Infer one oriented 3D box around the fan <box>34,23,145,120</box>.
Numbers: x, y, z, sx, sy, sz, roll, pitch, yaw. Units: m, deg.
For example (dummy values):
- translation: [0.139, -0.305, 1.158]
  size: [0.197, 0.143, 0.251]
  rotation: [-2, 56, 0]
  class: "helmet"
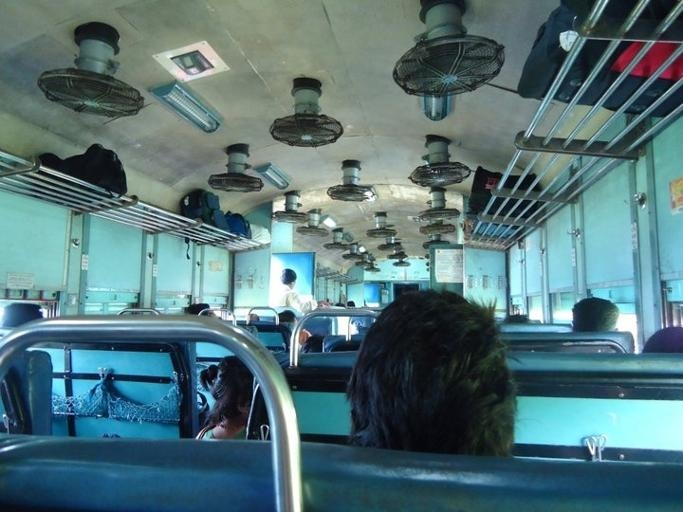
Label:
- translation: [-2.697, -2.031, 5.673]
  size: [1.314, 0.768, 1.062]
  rotation: [0, -13, -3]
  class: "fan"
